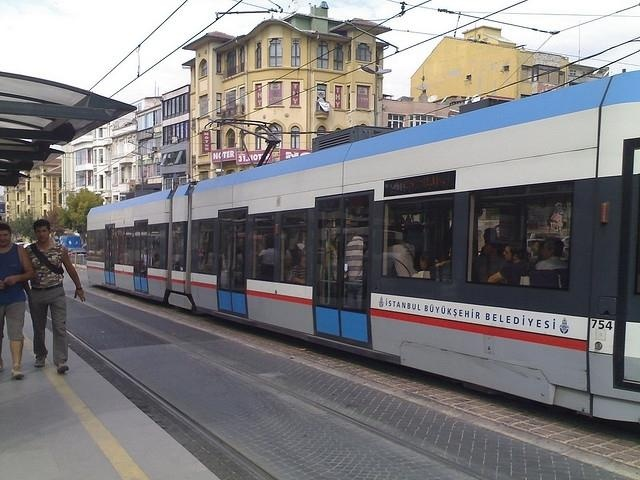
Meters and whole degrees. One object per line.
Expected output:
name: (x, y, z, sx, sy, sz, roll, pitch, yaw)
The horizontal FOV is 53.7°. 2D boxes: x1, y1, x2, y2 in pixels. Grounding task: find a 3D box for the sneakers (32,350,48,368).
sneakers: (-4.137, 1.767, 9.309, 0.191, 0.233, 0.535, 2, -9, -18)
